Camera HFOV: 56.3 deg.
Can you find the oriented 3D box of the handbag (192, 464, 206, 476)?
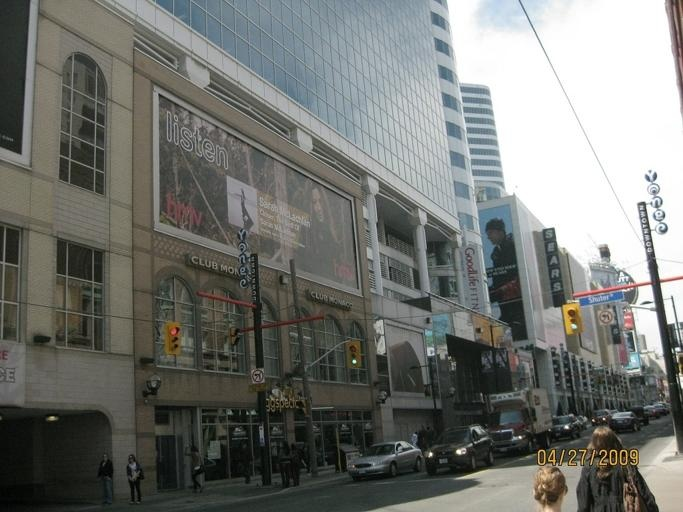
[{"bbox_3d":[-6.869,10.314,30.717,0.714,0.534,0.448,-12,-14,37],"label":"handbag"}]

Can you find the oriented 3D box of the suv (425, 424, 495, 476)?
[{"bbox_3d":[5.602,9.295,30.727,2.182,2.096,3.298,-20,-23,33],"label":"suv"}]
